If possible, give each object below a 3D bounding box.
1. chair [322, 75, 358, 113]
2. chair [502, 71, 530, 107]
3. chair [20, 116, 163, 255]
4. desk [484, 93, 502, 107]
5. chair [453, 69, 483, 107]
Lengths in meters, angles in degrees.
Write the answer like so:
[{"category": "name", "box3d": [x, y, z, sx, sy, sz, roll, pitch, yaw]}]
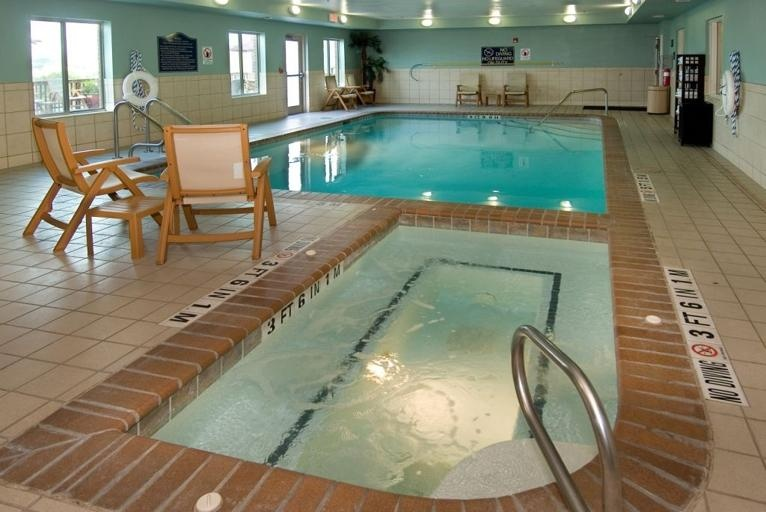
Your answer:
[{"category": "chair", "box3d": [-1.622, -5.727, 15.328, 1.034, 0.814, 0.816, -2, -3, 18]}, {"category": "chair", "box3d": [4.854, -6.171, 15.586, 0.944, 1.211, 0.787, 4, 22, 12]}, {"category": "chair", "box3d": [-2.904, -0.756, 4.367, 1.159, 0.972, 0.935, -8, 16, -37]}, {"category": "desk", "box3d": [4.103, -5.900, 16.012, 0.875, 0.455, 0.453, 0, 19, 7]}, {"category": "chair", "box3d": [3.250, -6.390, 16.098, 1.012, 1.231, 0.950, 6, 23, 17]}]
